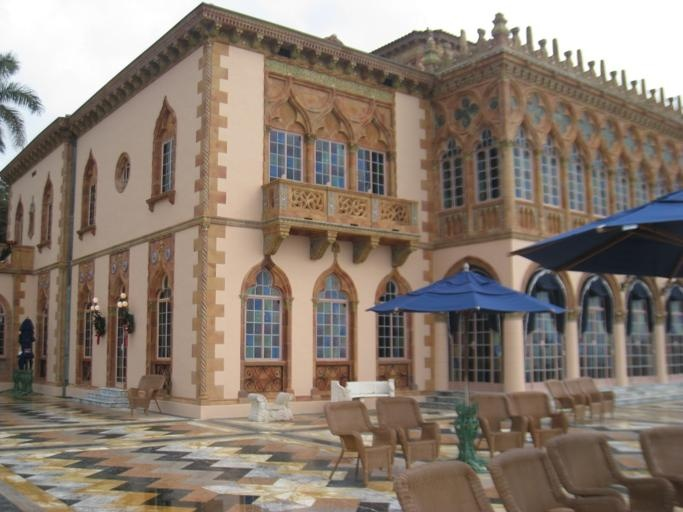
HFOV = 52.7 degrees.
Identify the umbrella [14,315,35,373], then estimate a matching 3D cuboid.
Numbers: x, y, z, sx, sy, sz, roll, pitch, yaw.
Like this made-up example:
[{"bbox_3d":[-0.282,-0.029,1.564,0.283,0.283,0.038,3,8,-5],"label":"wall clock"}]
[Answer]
[{"bbox_3d":[-12.685,3.508,27.737,0.602,2.171,1.651,5,-14,-24],"label":"umbrella"}]
